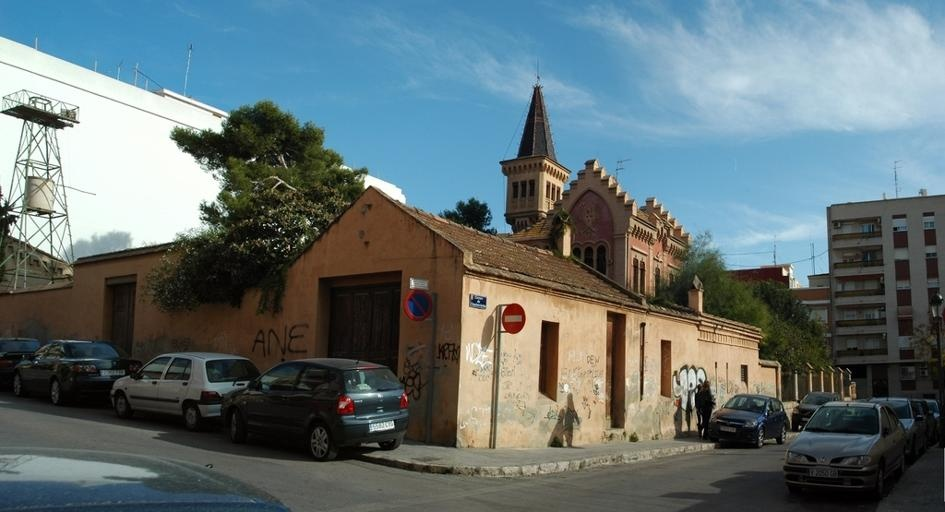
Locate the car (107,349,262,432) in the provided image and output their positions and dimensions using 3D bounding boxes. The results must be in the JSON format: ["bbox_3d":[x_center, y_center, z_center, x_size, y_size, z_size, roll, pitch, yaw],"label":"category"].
[{"bbox_3d":[-14.684,6.812,41.301,8.276,3.417,3.758,-2,-5,34],"label":"car"}]

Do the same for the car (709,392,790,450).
[{"bbox_3d":[16.736,9.687,49.406,3.042,2.752,6.042,5,-3,43],"label":"car"}]

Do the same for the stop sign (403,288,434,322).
[{"bbox_3d":[-2.586,2.422,40.839,1.780,1.670,0.235,0,-1,-20],"label":"stop sign"}]
